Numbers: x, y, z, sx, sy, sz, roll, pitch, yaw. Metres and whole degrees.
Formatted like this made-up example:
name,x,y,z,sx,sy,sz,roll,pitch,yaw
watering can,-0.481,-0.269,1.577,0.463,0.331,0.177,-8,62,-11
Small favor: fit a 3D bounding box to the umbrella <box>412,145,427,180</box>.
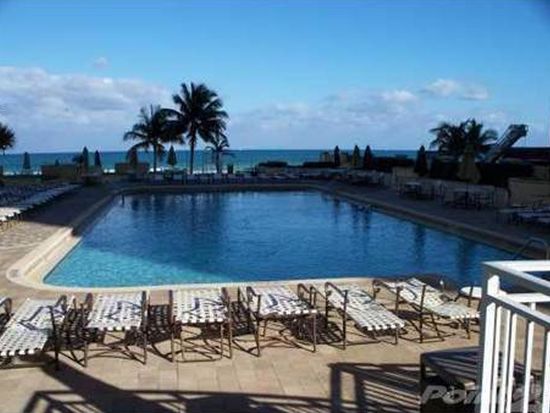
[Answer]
name,x,y,z,sx,sy,sz,roll,pitch,yaw
umbrella,8.034,-2.373,22.294,0.741,1.814,4.331,4,8,18
